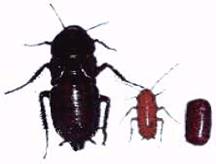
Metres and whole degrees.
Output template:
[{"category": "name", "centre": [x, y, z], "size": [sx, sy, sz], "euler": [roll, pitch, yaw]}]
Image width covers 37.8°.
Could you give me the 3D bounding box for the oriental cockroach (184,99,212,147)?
[{"category": "oriental cockroach", "centre": [1.886, 0.845, 6.732], "size": [0.535, 0.754, 0.638], "euler": [9, 38, 7]}]
